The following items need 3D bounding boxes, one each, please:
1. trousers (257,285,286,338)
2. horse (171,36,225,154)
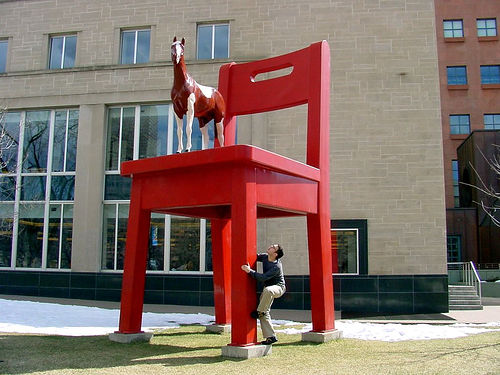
[{"bbox_3d":[0.494,2.758,12.756,0.608,1.161,1.155,-2,-7,3],"label":"trousers"},{"bbox_3d":[-1.293,-1.981,13.563,0.792,2.474,2.772,-1,-6,23],"label":"horse"}]
